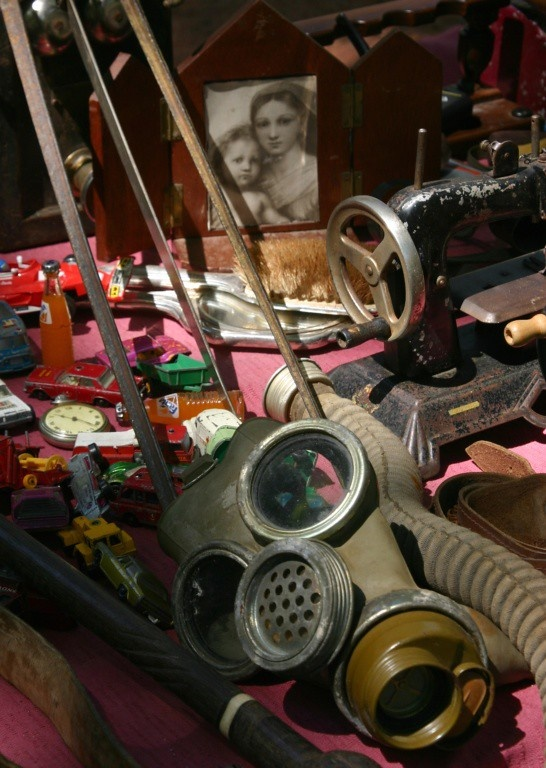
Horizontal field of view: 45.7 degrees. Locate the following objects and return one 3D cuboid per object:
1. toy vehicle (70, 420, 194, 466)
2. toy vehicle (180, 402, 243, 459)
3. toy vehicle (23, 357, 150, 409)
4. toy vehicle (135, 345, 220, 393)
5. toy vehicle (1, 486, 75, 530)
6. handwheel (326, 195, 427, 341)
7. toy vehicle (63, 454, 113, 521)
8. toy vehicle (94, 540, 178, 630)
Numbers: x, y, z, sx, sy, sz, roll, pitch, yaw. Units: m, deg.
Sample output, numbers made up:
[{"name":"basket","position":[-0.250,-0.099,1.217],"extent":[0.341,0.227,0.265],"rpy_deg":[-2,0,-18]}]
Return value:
[{"name":"toy vehicle","position":[-0.425,0.187,2.035],"extent":[0.362,0.140,0.145],"rpy_deg":[-2,38,-2]},{"name":"toy vehicle","position":[-0.165,0.148,1.959],"extent":[0.177,0.117,0.261],"rpy_deg":[-12,24,-13]},{"name":"toy vehicle","position":[-0.684,0.000,2.367],"extent":[0.487,0.143,0.205],"rpy_deg":[8,31,8]},{"name":"toy vehicle","position":[-0.367,-0.065,2.343],"extent":[0.134,0.055,0.248],"rpy_deg":[-13,25,-32]},{"name":"toy vehicle","position":[-0.608,0.327,1.688],"extent":[0.134,0.075,0.115],"rpy_deg":[-16,12,-11]},{"name":"handwheel","position":[0.289,-0.335,1.982],"extent":[0.215,0.454,0.470],"rpy_deg":[-18,13,-11]},{"name":"toy vehicle","position":[-0.507,0.285,1.801],"extent":[0.115,0.170,0.048],"rpy_deg":[-29,-27,20]},{"name":"toy vehicle","position":[-0.324,0.458,1.462],"extent":[0.191,0.051,0.120],"rpy_deg":[44,17,26]}]
